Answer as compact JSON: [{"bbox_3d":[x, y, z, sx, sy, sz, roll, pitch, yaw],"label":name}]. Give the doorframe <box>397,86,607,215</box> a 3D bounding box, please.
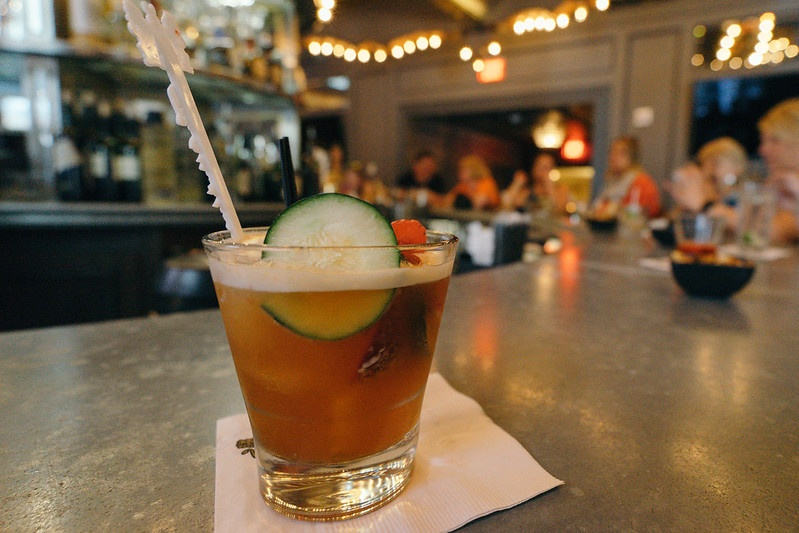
[{"bbox_3d":[1.199,-1.442,7.701,0.099,1.365,2.419,-3,3,-44],"label":"doorframe"}]
